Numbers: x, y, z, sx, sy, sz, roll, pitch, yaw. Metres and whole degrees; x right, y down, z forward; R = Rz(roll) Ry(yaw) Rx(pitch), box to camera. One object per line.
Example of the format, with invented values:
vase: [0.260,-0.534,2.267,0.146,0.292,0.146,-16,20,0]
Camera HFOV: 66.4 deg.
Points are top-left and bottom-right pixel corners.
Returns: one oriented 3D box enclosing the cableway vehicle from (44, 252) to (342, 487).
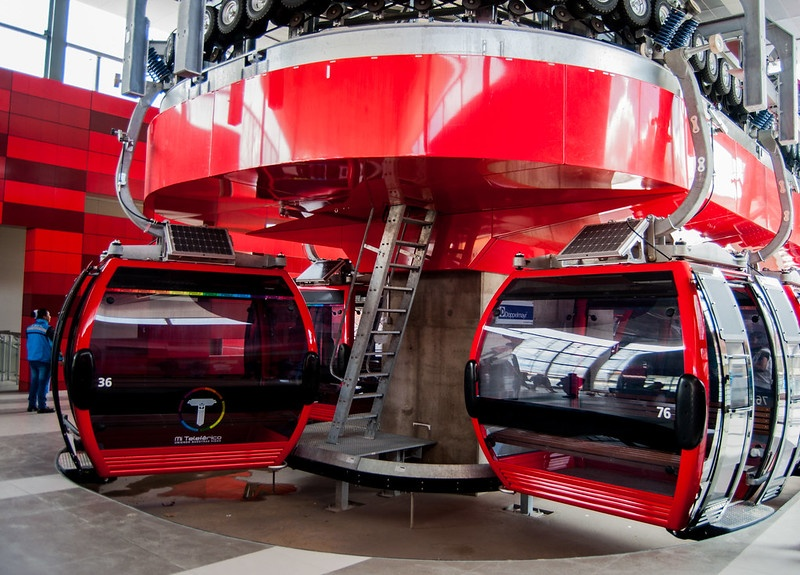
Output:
cableway vehicle: [-2.454,0.842,7.301,3.344,2.514,2.504,3,-1,-27]
